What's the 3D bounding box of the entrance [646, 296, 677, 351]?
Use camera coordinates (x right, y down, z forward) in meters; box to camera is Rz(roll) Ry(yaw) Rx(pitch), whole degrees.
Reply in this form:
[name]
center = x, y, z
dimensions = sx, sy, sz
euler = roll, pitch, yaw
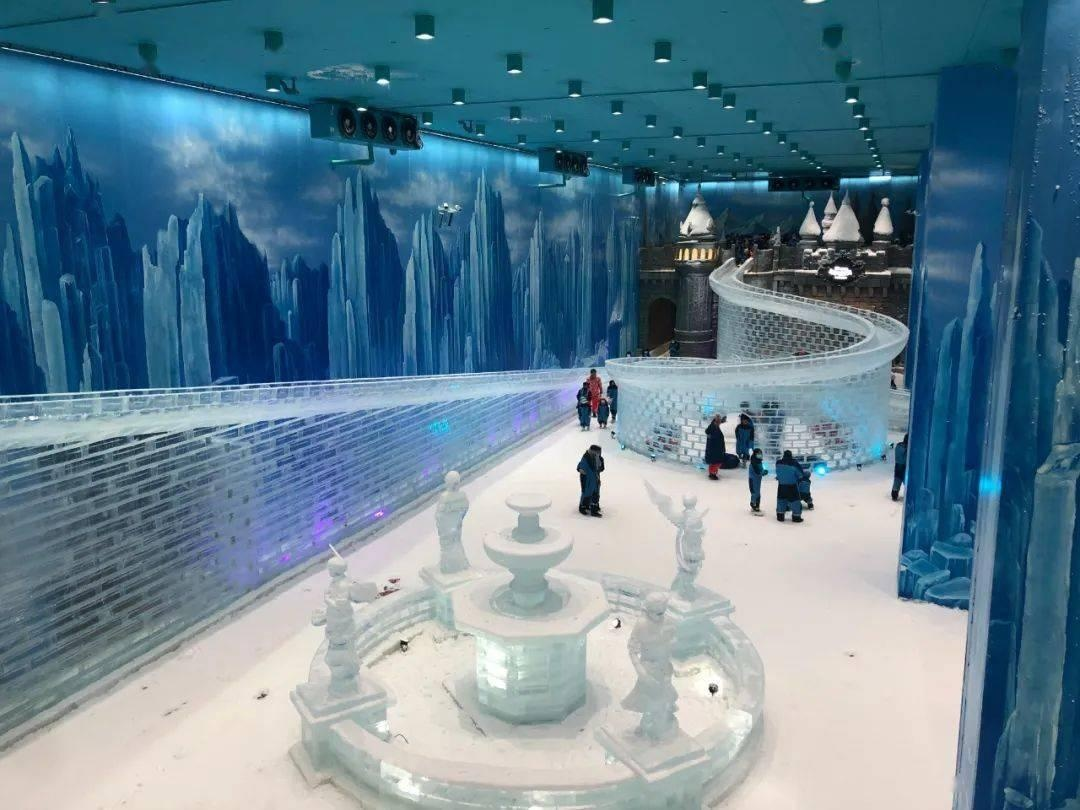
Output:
[entrance]
center = 4.984, -3.346, 29.848
dimensions = 0.248, 3.576, 2.398
euler = 5, 8, 41
